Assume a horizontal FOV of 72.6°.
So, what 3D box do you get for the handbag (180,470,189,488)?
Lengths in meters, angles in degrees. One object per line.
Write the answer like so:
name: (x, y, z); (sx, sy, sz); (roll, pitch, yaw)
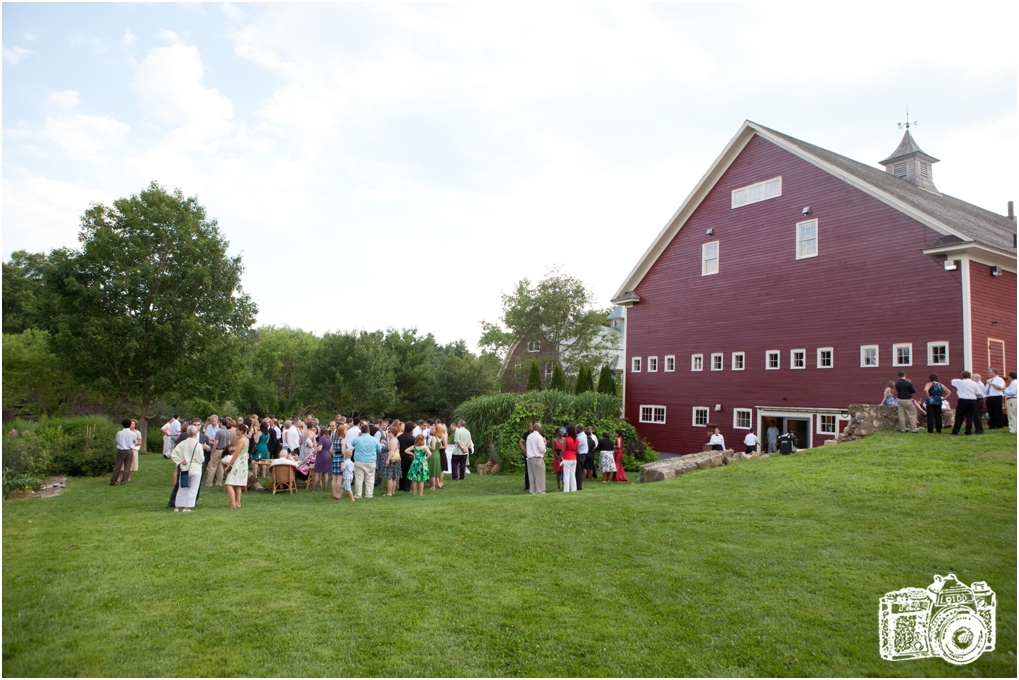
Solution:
handbag: (-9.541, 4.122, 20.489); (0.214, 0.546, 0.321); (-3, 3, -38)
